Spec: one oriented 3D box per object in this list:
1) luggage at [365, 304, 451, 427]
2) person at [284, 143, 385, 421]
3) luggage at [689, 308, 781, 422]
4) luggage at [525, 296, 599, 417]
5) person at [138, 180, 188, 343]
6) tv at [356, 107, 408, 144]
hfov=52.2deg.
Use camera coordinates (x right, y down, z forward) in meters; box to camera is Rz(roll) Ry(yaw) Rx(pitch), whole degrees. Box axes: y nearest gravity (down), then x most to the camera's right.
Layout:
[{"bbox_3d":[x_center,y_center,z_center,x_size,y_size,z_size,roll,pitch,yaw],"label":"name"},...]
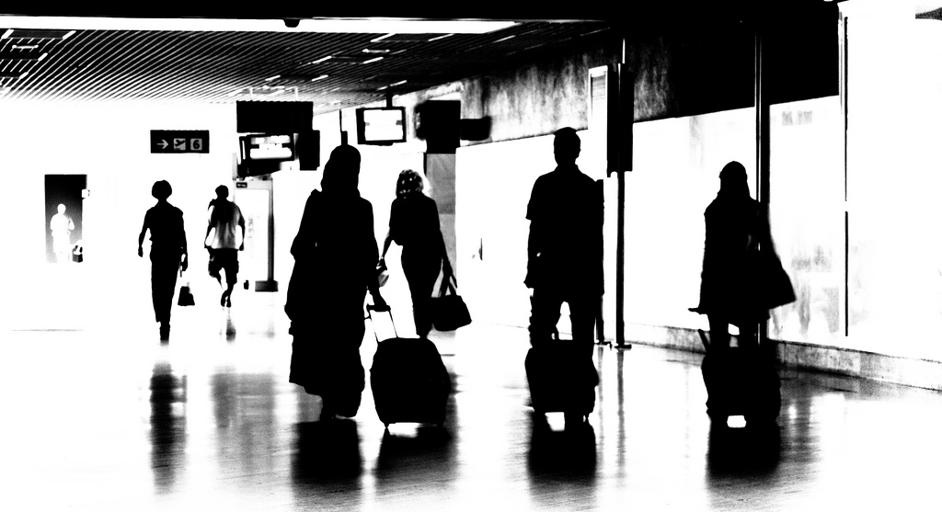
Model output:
[{"bbox_3d":[-0.674,1.400,10.546,0.838,0.971,0.218,-1,-3,-7],"label":"luggage"},{"bbox_3d":[-1.541,0.278,10.700,1.063,3.097,0.472,0,-3,-10],"label":"person"},{"bbox_3d":[3.053,1.460,10.827,0.814,0.872,0.195,-1,-3,9],"label":"luggage"},{"bbox_3d":[1.017,1.140,10.861,0.786,1.360,0.255,-1,-3,4],"label":"luggage"},{"bbox_3d":[-5.200,0.091,16.093,0.731,2.680,0.588,1,-4,-36],"label":"person"},{"bbox_3d":[-1.979,-2.984,21.522,1.045,0.355,1.303,-3,-34,-6],"label":"tv"}]
